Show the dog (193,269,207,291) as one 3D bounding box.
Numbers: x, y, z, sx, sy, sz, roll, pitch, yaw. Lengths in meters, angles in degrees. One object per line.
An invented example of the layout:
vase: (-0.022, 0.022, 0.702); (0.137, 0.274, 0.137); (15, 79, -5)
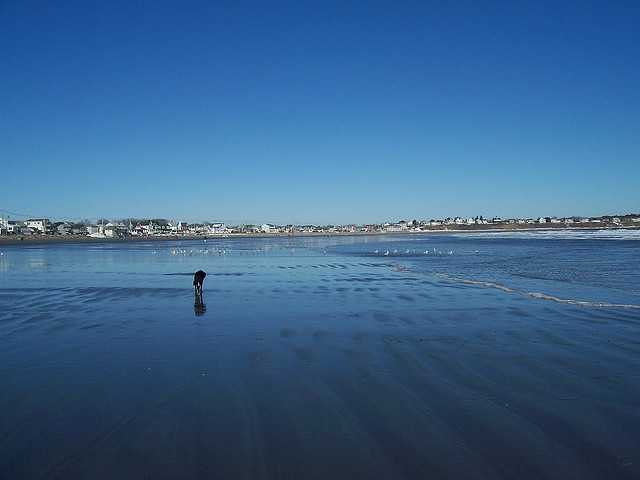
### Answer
dog: (-5.597, 1.813, 22.477); (0.794, 0.998, 0.564); (5, 5, 27)

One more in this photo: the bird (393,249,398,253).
bird: (10.655, 1.544, 68.724); (0.480, 0.609, 1.542); (-3, -12, 20)

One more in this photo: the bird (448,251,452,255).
bird: (16.787, 1.618, 62.830); (0.498, 0.418, 1.326); (-2, 5, 15)

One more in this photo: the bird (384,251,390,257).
bird: (8.398, 1.672, 61.165); (0.480, 0.397, 1.272); (2, 11, 7)
